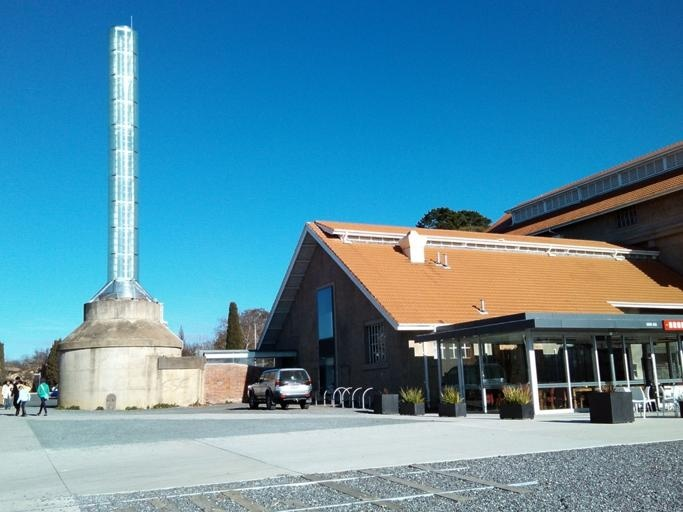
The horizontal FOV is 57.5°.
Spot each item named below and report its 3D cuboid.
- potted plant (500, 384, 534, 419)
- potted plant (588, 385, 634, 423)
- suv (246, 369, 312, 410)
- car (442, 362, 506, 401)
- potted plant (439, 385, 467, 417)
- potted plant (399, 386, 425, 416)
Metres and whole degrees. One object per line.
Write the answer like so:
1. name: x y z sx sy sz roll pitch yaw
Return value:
1. potted plant: 6.387 5.160 21.906 1.285 1.373 1.033 5 -16 -25
2. potted plant: 8.398 4.738 19.281 1.294 0.957 1.284 3 -12 1
3. suv: -3.264 6.792 32.342 1.991 1.344 3.532 4 -6 -27
4. car: 5.562 5.057 25.657 1.305 1.037 2.060 1 0 -6
5. potted plant: 4.245 5.594 23.906 0.950 1.313 1.079 0 -5 -4
6. potted plant: 2.919 5.933 25.358 0.913 1.220 1.116 4 -9 -11
